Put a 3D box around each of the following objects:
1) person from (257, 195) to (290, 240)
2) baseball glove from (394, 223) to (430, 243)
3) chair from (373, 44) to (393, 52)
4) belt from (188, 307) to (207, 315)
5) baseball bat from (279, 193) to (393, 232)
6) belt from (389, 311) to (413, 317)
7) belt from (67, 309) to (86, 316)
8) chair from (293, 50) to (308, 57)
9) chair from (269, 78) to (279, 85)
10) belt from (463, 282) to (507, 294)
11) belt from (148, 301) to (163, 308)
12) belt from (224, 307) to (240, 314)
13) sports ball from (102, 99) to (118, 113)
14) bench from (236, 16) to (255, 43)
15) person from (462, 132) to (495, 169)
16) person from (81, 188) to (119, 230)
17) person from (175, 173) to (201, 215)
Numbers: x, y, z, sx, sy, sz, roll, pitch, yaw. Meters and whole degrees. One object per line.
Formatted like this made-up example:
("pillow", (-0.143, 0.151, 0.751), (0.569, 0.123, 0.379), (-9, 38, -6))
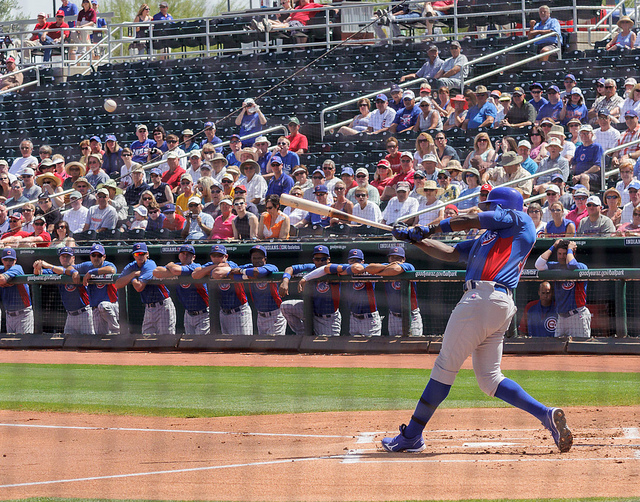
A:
("person", (-0.760, -0.447, 26.328), (0.638, 0.819, 0.629), (0, -6, 10))
("baseball glove", (1.156, -0.235, 20.353), (0.274, 0.127, 0.270), (4, -8, -39))
("chair", (1.272, -3.922, 32.612), (0.384, 0.145, 0.331), (-1, 7, 1))
("belt", (-1.884, 0.927, 25.941), (0.291, 0.099, 0.032), (0, 8, 5))
("baseball bat", (0.273, -0.564, 25.146), (1.939, 0.172, 0.178), (16, 43, 11))
("belt", (1.273, 0.954, 25.355), (0.357, 0.075, 0.040), (1, 8, 19))
("belt", (-3.815, 0.965, 26.442), (0.229, 0.106, 0.012), (1, 8, 15))
("chair", (-0.367, -3.969, 33.889), (0.298, 0.140, 0.548), (-1, 6, -2))
("chair", (-0.874, -3.313, 32.934), (0.189, 0.120, 0.359), (-2, 7, -5))
("belt", (2.028, 0.442, 20.189), (0.527, 0.139, 0.128), (1, 7, 16))
("belt", (-2.562, 0.821, 26.087), (0.230, 0.090, 0.044), (-1, 8, -3))
("belt", (-1.334, 0.911, 25.763), (0.149, 0.053, 0.100), (-13, 6, -18))
("sports ball", (-4.265, -2.901, 33.641), (0.303, 0.282, 0.296), (16, 4, -1))
("bench", (-1.518, -4.604, 34.887), (0.306, 0.521, 0.568), (-6, 7, -27))
("person", (2.620, -1.517, 26.948), (0.513, 0.726, 0.438), (6, -4, 2))
("person", (-3.691, -0.702, 27.975), (0.446, 0.686, 0.720), (-8, 10, -44))
("person", (-2.186, -0.869, 27.835), (0.504, 0.750, 0.438), (-2, -15, 2))
